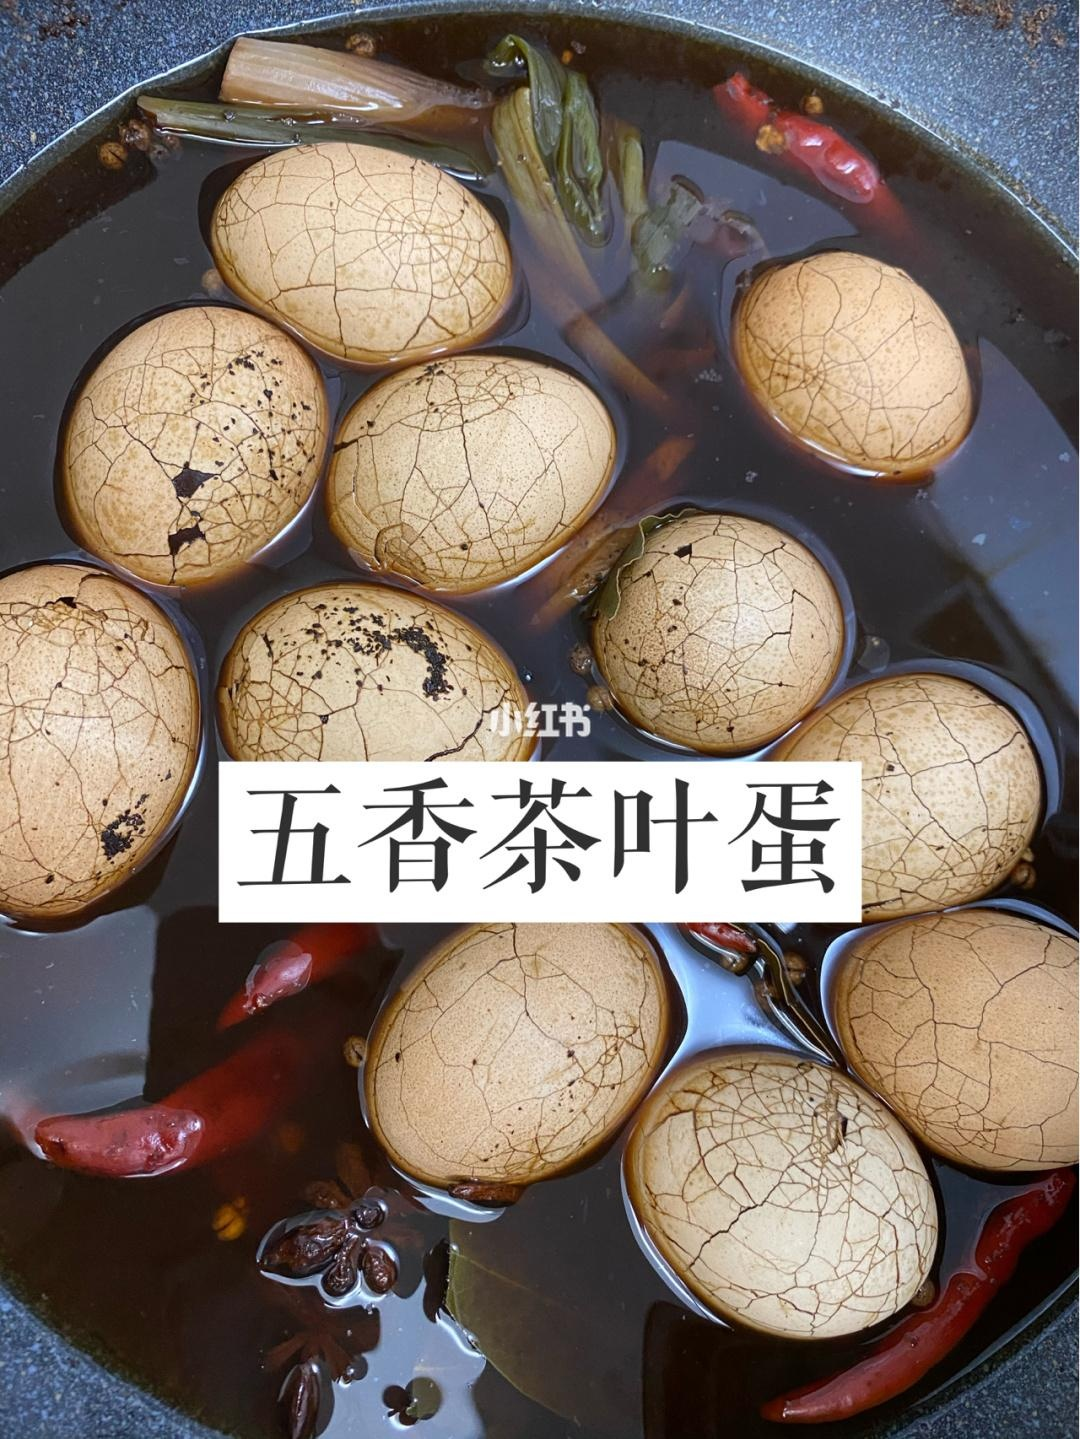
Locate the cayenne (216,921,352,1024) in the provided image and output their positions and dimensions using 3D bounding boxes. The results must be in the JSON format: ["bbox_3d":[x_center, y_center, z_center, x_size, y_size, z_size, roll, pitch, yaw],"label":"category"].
[{"bbox_3d":[-0.276,0.271,1.584,0.178,0.050,0.061,-32,89,2],"label":"cayenne"}]
